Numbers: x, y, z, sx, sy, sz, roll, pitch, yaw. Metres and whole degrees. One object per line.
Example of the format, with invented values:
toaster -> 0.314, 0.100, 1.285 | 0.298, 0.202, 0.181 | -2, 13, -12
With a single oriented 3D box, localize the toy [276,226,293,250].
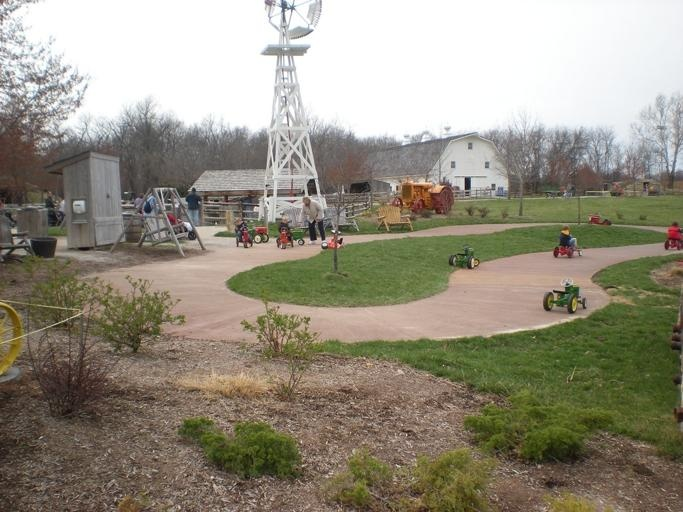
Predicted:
toy -> -2.143, -0.626, 21.873 | 0.383, 0.592, 0.905 | -2, -1, 5

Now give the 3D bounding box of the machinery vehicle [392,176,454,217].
machinery vehicle -> 5.559, -3.730, 38.440 | 4.160, 2.149, 2.505 | -2, 5, -10

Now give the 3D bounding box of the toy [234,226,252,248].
toy -> -3.702, -0.677, 22.005 | 0.455, 0.660, 0.995 | -2, 1, -19

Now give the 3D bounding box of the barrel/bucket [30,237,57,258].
barrel/bucket -> -7.400, -0.194, 14.482 | 0.487, 0.443, 0.557 | 0, 0, -9

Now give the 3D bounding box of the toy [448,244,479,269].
toy -> 3.941, 0.062, 19.048 | 0.877, 0.695, 1.065 | 1, 6, 31

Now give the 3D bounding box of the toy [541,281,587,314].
toy -> 4.975, 0.932, 13.045 | 0.631, 0.768, 1.192 | 3, 7, 40

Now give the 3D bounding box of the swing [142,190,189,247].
swing -> -6.042, -1.289, 19.866 | 1.531, 2.995, 1.658 | 1, 6, -3

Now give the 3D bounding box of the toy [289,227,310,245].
toy -> -1.887, -0.840, 25.055 | 0.638, 0.548, 1.040 | -1, 0, -1

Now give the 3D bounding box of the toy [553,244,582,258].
toy -> 8.646, -0.149, 22.189 | 1.017, 0.409, 0.593 | -4, 3, -38

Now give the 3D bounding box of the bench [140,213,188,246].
bench -> -5.951, -0.884, 19.591 | 1.275, 1.041, 1.638 | -6, 7, -42
